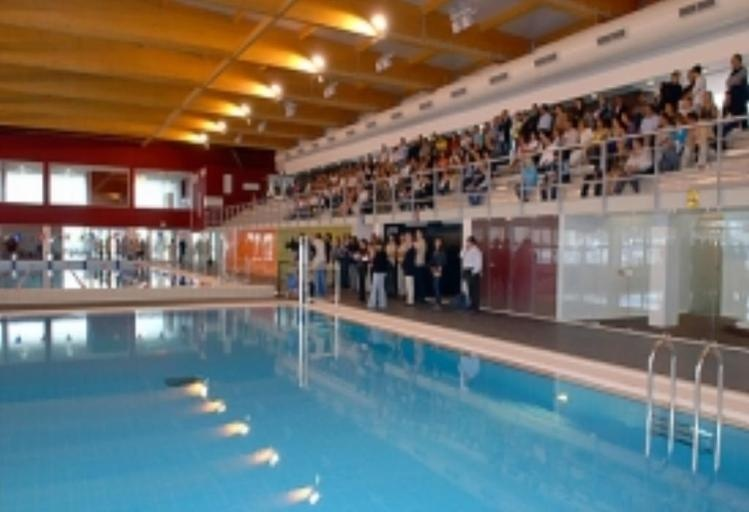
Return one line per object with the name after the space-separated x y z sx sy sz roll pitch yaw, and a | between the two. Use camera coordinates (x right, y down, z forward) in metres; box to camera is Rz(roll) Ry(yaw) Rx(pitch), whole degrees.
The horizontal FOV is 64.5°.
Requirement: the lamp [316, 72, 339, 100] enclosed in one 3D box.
-1.985 -7.106 24.671 0.244 1.055 0.993 -33 46 -31 | lamp
